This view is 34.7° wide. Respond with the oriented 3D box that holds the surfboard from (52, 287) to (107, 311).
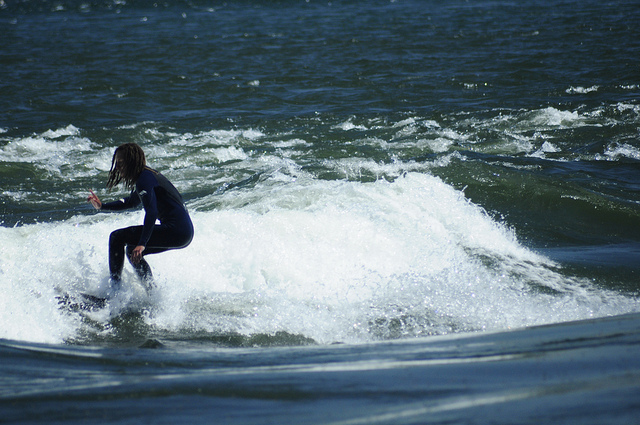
[{"bbox_3d":[-5.093,1.846,21.848,0.928,0.093,0.519,9,28,-12],"label":"surfboard"}]
